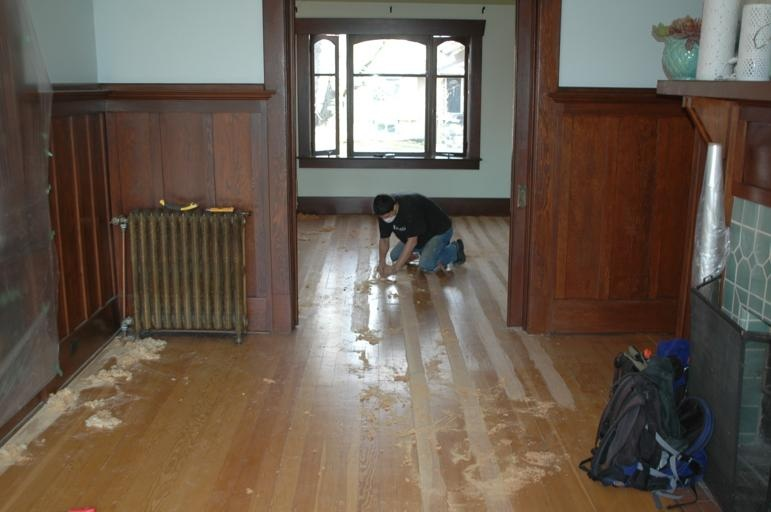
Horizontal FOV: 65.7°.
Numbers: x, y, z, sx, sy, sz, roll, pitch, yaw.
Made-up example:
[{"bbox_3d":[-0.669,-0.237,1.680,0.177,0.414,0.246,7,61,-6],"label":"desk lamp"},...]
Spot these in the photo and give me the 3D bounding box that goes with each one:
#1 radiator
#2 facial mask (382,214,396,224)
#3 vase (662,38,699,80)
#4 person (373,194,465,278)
[{"bbox_3d":[-1.676,0.135,4.945,1.039,1.105,0.295,2,15,1],"label":"radiator"},{"bbox_3d":[0.031,-0.398,6.409,0.131,0.119,0.172,-2,16,0],"label":"facial mask"},{"bbox_3d":[1.866,-1.252,3.786,0.226,0.270,0.234,10,24,38],"label":"vase"},{"bbox_3d":[0.270,-0.307,6.779,1.216,0.980,0.606,-13,20,-34],"label":"person"}]
